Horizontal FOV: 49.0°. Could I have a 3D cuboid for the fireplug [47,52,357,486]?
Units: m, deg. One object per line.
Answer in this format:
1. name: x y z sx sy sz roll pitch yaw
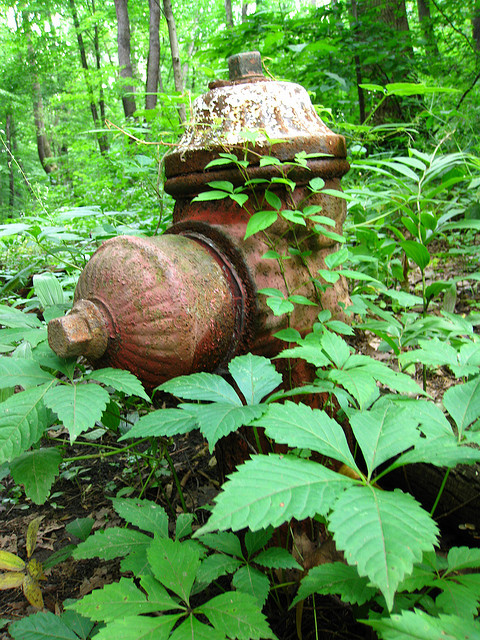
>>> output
1. fireplug: -0.381 -0.144 2.149 1.229 1.590 1.093 1 -2 -37
